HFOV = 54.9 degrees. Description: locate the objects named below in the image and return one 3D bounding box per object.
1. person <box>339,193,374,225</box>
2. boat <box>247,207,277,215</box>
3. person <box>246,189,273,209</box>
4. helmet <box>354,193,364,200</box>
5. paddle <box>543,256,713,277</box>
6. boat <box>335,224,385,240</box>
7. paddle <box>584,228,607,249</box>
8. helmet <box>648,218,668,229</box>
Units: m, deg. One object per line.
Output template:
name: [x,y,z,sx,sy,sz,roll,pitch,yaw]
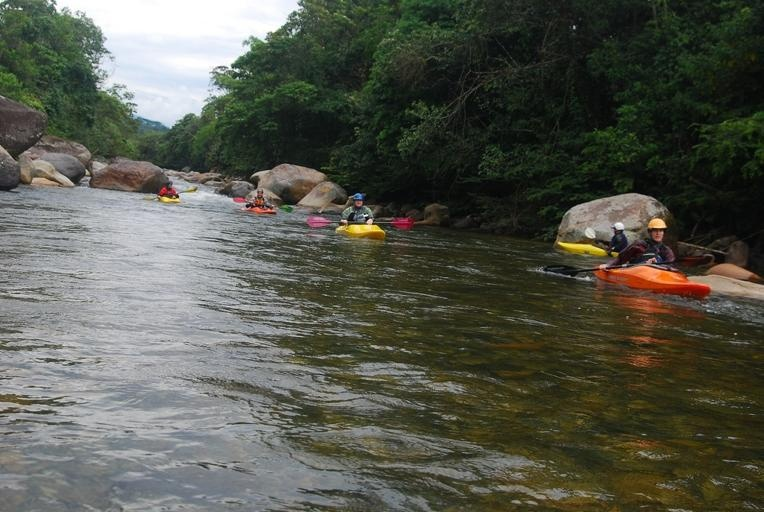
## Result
person: [-0.695,-1.349,21.462,0.803,0.956,2.305,9,5,-2]
boat: [-4.592,-1.711,27.621,0.877,0.231,1.399,3,5,-27]
person: [-4.863,-2.231,29.156,1.255,0.650,1.885,1,0,-24]
helmet: [-0.640,-1.665,20.238,0.331,0.112,0.364,1,-4,-6]
paddle: [5.341,0.241,15.993,2.721,0.191,0.454,-3,3,33]
boat: [-0.657,-0.718,20.547,0.725,0.382,1.661,4,5,-30]
paddle: [5.622,-0.472,19.401,0.463,0.116,1.169,-22,21,-7]
helmet: [5.236,-0.595,13.988,0.464,0.185,0.495,5,4,10]
